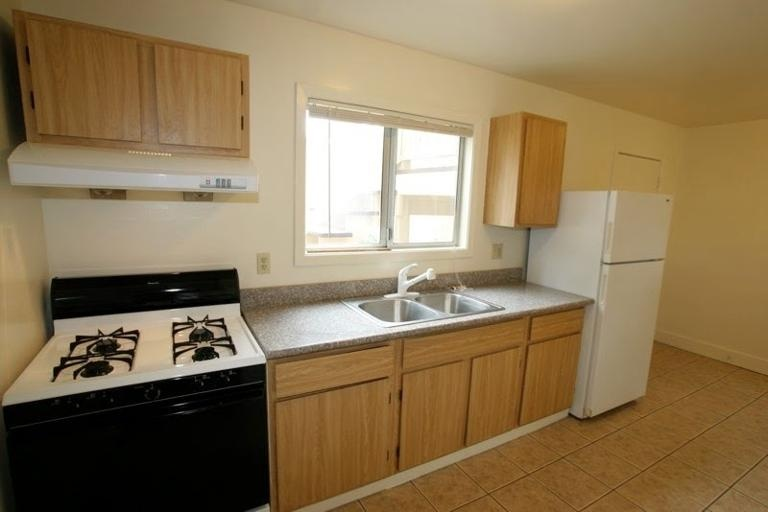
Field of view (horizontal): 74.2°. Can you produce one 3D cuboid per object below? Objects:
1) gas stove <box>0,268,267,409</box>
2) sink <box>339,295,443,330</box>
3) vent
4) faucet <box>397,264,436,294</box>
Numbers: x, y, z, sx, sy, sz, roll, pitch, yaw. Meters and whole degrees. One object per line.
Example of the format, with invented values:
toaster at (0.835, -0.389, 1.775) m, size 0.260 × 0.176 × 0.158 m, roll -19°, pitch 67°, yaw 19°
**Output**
gas stove at (-1.454, 0.705, 3.061) m, size 1.142 × 0.400 × 0.717 m, roll -7°, pitch 27°, yaw -23°
sink at (0.058, 0.411, 3.680) m, size 0.364 × 0.202 × 0.324 m, roll -3°, pitch 12°, yaw -32°
vent at (-1.369, -0.499, 2.874) m, size 1.251 × 0.252 × 0.270 m, roll -1°, pitch 13°, yaw -12°
faucet at (0.246, 0.173, 3.861) m, size 0.299 × 0.175 × 0.196 m, roll -4°, pitch 6°, yaw 36°
